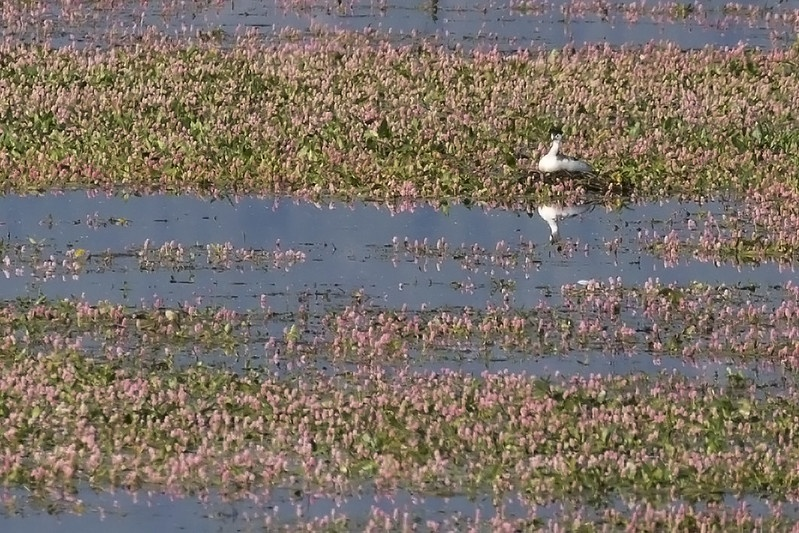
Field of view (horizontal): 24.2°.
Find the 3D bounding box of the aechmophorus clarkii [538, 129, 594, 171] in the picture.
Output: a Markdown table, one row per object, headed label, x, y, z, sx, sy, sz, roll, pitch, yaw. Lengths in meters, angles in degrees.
| label | x | y | z | sx | sy | sz | roll | pitch | yaw |
| --- | --- | --- | --- | --- | --- | --- | --- | --- | --- |
| aechmophorus clarkii | 3.116 | -1.940 | 35.081 | 0.911 | 0.568 | 0.601 | 26 | 70 | 9 |
